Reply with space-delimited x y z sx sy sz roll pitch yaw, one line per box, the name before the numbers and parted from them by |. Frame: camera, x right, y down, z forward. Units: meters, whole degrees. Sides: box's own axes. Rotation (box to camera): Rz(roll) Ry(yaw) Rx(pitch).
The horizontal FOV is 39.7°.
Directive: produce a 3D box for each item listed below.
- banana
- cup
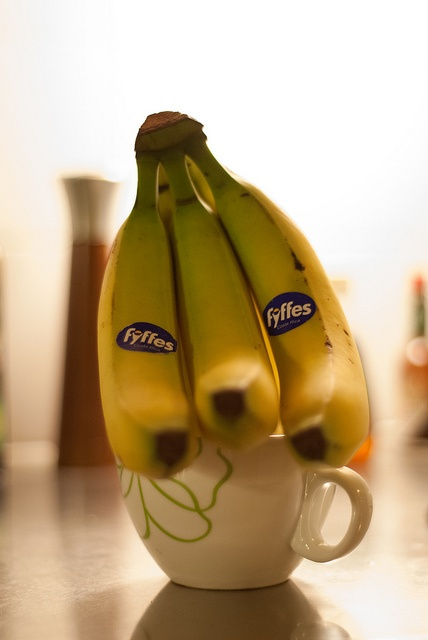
banana | 0.020 -0.016 0.369 0.146 0.112 0.242 -12 38 3
cup | 0.028 0.119 0.363 0.163 0.079 0.126 -9 -17 33
